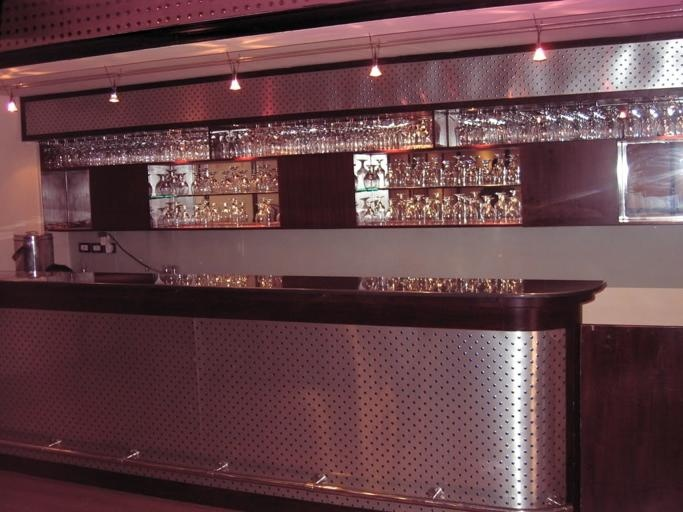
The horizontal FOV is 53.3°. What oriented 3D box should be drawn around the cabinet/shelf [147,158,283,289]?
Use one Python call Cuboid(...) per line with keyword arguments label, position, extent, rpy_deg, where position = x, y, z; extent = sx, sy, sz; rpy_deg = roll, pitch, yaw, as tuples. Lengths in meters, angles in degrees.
Cuboid(label="cabinet/shelf", position=(-1.093, -0.545, 6.116), extent=(1.266, 0.599, 0.459), rpy_deg=(1, 4, 26))
